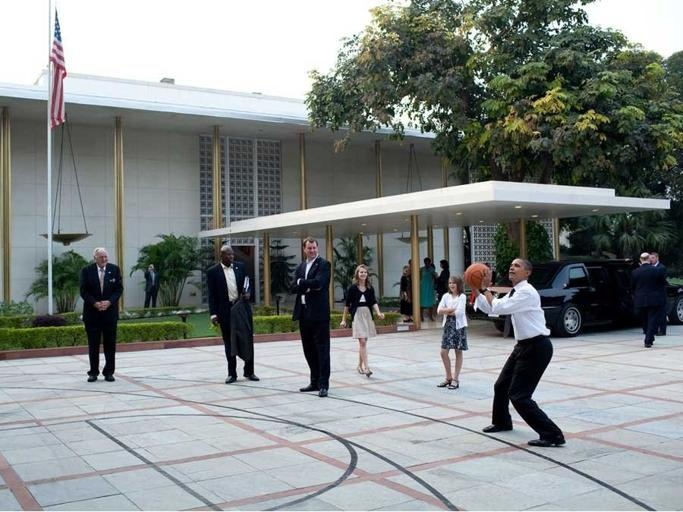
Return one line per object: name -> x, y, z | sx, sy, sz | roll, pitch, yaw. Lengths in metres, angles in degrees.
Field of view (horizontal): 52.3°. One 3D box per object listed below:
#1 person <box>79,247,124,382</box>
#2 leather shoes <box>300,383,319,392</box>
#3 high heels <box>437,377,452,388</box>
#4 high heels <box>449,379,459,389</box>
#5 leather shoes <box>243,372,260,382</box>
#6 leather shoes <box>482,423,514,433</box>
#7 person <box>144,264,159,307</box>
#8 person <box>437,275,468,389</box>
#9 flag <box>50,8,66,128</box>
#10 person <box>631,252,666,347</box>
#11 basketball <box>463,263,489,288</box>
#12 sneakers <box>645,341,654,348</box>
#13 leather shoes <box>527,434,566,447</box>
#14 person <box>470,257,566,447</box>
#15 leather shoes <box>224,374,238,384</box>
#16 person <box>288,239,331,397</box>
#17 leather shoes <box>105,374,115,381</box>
person -> -4.131, 1.018, 12.050 | 0.670, 1.866, 0.695 | -4, 2, -21
leather shoes -> -0.491, 2.079, 10.865 | 0.322, 0.150, 0.112 | 2, -6, -3
high heels -> 1.677, 2.045, 11.082 | 0.300, 0.140, 0.110 | 10, -14, -34
high heels -> 1.787, 2.042, 11.035 | 0.176, 0.120, 0.409 | -3, 2, 10
leather shoes -> -1.511, 2.091, 11.820 | 0.106, 0.130, 0.294 | 3, -8, -34
leather shoes -> 1.934, 2.158, 8.659 | 0.385, 0.171, 0.134 | 5, -8, -3
person -> -7.556, 1.223, 27.621 | 0.612, 1.320, 1.257 | -4, 2, -16
person -> 1.840, 1.217, 11.555 | 0.508, 1.799, 1.521 | -3, 2, 9
flag -> -7.914, -5.365, 19.206 | 0.463, 2.797, 2.292 | -4, 2, -22
person -> 6.685, 0.960, 15.213 | 0.652, 1.989, 0.917 | -1, 3, 43
basketball -> 1.635, 0.264, 8.316 | 0.295, 0.320, 0.408 | -3, 2, 11
sneakers -> 6.644, 1.931, 14.984 | 0.089, 0.189, 0.270 | 4, 8, 36
leather shoes -> 2.393, 2.165, 8.128 | 0.425, 0.202, 0.159 | 3, -9, 5
person -> 2.162, 1.139, 8.397 | 0.964, 2.204, 0.620 | -2, 2, 17
leather shoes -> -1.845, 2.087, 11.616 | 0.087, 0.099, 0.242 | -2, -9, 13
person -> -0.438, 0.933, 10.816 | 0.626, 2.411, 0.841 | -4, 2, -15
leather shoes -> -3.976, 2.117, 11.919 | 0.081, 0.099, 0.227 | 2, -7, -32
